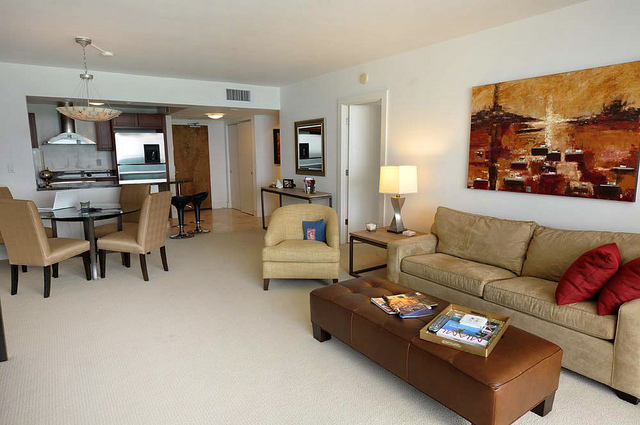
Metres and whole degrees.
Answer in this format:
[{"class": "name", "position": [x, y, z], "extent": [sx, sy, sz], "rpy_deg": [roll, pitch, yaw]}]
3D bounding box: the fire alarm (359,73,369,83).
[{"class": "fire alarm", "position": [0.679, -2.062, 6.366], "extent": [0.049, 0.148, 0.169], "rpy_deg": [-11, 13, -39]}]

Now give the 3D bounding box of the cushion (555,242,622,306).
[{"class": "cushion", "position": [2.473, 0.482, 3.886], "extent": [0.507, 0.613, 0.896], "rpy_deg": [8, 8, 41]}]

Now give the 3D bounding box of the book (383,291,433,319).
[{"class": "book", "position": [0.837, 0.866, 3.816], "extent": [0.420, 0.093, 0.418], "rpy_deg": [-5, 19, -24]}]

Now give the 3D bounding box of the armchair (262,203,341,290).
[{"class": "armchair", "position": [-0.244, 0.423, 5.628], "extent": [1.192, 1.016, 1.080], "rpy_deg": [2, 9, -7]}]

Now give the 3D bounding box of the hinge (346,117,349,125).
[{"class": "hinge", "position": [0.457, -1.518, 6.880], "extent": [0.083, 0.114, 0.023], "rpy_deg": [0, 6, -10]}]

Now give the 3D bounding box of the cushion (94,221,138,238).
[{"class": "cushion", "position": [-3.090, 0.245, 6.194], "extent": [0.401, 0.097, 0.370], "rpy_deg": [3, 4, 35]}]

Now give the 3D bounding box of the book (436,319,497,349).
[{"class": "book", "position": [1.190, 0.988, 3.358], "extent": [0.409, 0.086, 0.249], "rpy_deg": [4, 10, 30]}]

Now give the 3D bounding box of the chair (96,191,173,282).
[{"class": "chair", "position": [-2.590, 0.336, 5.782], "extent": [0.882, 1.004, 0.778], "rpy_deg": [1, 5, 19]}]

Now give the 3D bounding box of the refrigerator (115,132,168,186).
[{"class": "refrigerator", "position": [-3.814, -1.298, 9.126], "extent": [1.112, 1.335, 0.809], "rpy_deg": [-1, 16, -6]}]

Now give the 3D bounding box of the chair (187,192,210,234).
[{"class": "chair", "position": [-2.434, 0.011, 8.116], "extent": [0.555, 0.839, 0.512], "rpy_deg": [-6, 6, -41]}]

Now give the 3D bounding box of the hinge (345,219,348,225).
[{"class": "hinge", "position": [0.453, 0.167, 7.123], "extent": [0.055, 0.080, 0.012], "rpy_deg": [-11, 15, -41]}]

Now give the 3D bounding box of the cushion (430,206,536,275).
[{"class": "cushion", "position": [1.856, 0.310, 4.858], "extent": [0.331, 0.599, 1.181], "rpy_deg": [5, 5, -44]}]

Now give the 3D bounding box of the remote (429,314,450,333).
[{"class": "remote", "position": [1.011, 0.936, 3.487], "extent": [0.078, 0.038, 0.272], "rpy_deg": [6, 12, 27]}]

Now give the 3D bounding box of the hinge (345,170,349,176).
[{"class": "hinge", "position": [0.455, -0.663, 7.010], "extent": [0.070, 0.096, 0.020], "rpy_deg": [-6, 12, -25]}]

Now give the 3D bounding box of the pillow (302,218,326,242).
[{"class": "pillow", "position": [-0.079, 0.254, 5.565], "extent": [0.335, 0.299, 0.118], "rpy_deg": [2, -6, 9]}]
